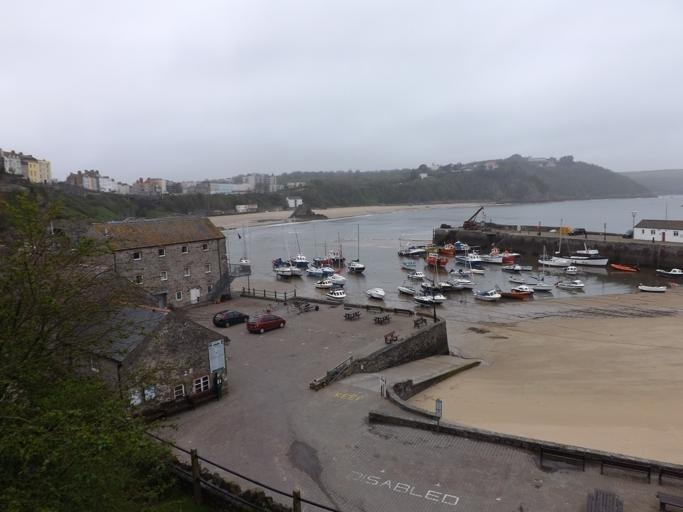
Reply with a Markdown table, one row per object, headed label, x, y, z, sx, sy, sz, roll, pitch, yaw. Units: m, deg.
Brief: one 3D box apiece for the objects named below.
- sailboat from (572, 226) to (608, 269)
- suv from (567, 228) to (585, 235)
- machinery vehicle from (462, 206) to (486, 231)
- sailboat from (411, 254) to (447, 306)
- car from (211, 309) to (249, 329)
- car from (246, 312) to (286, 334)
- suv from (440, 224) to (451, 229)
| label | x | y | z | sx | sy | sz | roll | pitch | yaw |
| --- | --- | --- | --- | --- | --- | --- | --- | --- | --- |
| sailboat | 38.681 | -0.396 | 82.241 | 5.451 | 3.585 | 8.994 | 9 | 9 | 24 |
| suv | 42.617 | -4.249 | 94.865 | 2.963 | 1.181 | 1.692 | -1 | 6 | -5 |
| machinery vehicle | 40.214 | -12.313 | 159.215 | 3.621 | 5.924 | 104.169 | 7 | 8 | 14 |
| sailboat | 11.168 | 3.135 | 68.110 | 2.431 | 5.371 | 2.396 | -4 | 10 | -35 |
| car | -7.689 | 4.201 | 35.917 | 1.961 | 0.792 | 1.154 | -10 | 16 | -37 |
| car | -5.039 | 4.344 | 34.569 | 2.247 | 0.901 | 1.111 | -9 | 15 | -36 |
| suv | 22.751 | -6.619 | 117.473 | 1.989 | 0.732 | 2.164 | 11 | 12 | 42 |
